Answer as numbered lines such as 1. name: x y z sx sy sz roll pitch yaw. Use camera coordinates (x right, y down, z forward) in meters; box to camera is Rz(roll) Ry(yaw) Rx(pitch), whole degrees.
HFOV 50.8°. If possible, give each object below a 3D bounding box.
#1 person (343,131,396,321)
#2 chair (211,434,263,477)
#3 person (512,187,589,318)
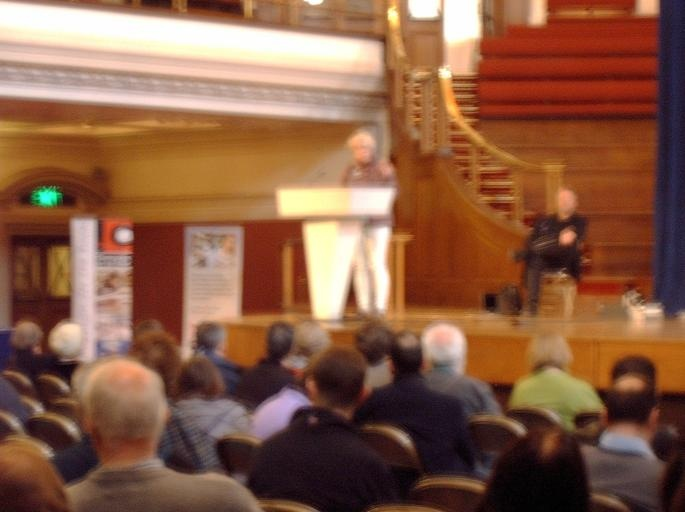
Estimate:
1. person: 0.181 -0.246 5.093 0.365 1.321 0.696 0 -3 0
2. chair: -0.393 0.732 2.680 0.184 0.118 0.179 2 -5 -1
3. person: 1.696 -0.034 5.879 0.538 1.024 0.329 -1 -4 23
